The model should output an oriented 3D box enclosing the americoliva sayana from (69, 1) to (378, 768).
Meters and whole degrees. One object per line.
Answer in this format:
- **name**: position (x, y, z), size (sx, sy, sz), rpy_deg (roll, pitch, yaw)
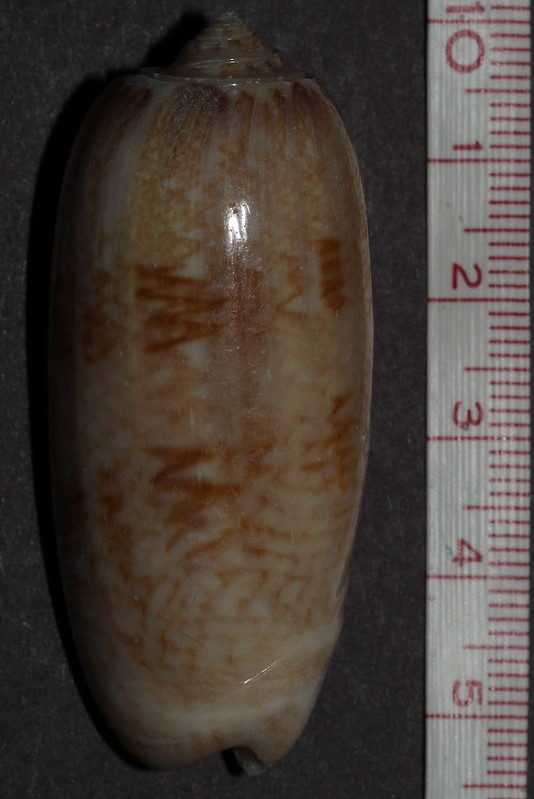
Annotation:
- **americoliva sayana**: position (-0.042, 0.000, 1.089), size (0.275, 0.674, 0.226), rpy_deg (5, 17, 6)
